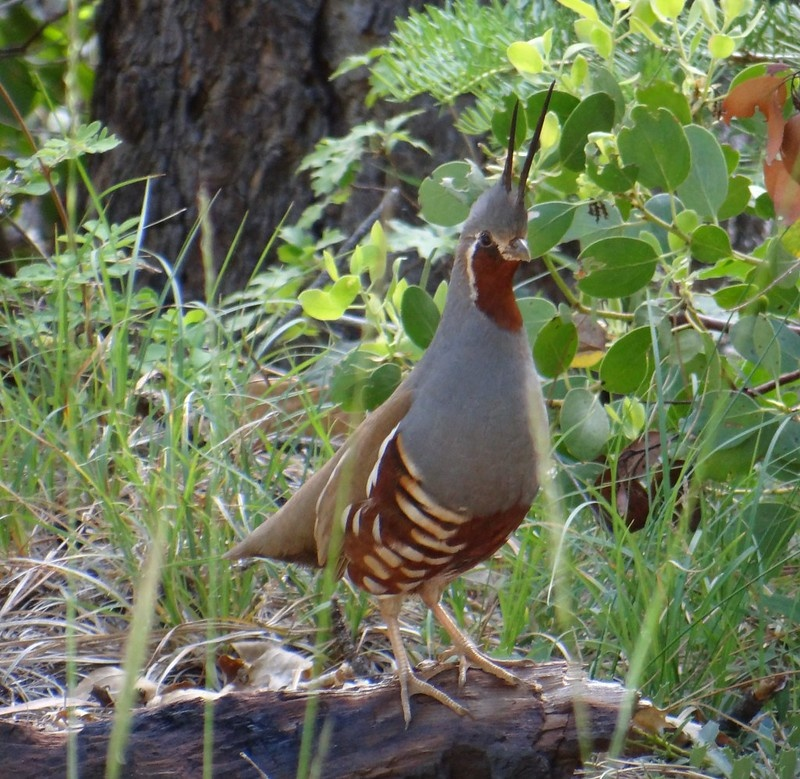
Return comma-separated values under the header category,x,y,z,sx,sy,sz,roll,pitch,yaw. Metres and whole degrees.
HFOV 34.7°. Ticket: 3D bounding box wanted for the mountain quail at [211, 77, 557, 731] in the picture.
category,x,y,z,sx,sy,sz,roll,pitch,yaw
mountain quail,0.118,0.027,2.655,0.553,1.201,0.646,-5,32,-35
